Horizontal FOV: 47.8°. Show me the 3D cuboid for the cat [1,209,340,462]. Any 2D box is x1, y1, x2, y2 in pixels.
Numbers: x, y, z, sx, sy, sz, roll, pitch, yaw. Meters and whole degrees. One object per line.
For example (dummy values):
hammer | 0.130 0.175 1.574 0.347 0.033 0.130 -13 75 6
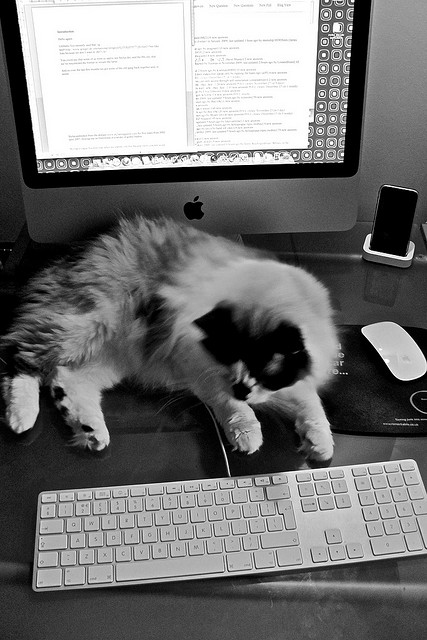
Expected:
cat | -0.040 0.014 0.569 0.295 0.122 0.328 -21 56 -25
